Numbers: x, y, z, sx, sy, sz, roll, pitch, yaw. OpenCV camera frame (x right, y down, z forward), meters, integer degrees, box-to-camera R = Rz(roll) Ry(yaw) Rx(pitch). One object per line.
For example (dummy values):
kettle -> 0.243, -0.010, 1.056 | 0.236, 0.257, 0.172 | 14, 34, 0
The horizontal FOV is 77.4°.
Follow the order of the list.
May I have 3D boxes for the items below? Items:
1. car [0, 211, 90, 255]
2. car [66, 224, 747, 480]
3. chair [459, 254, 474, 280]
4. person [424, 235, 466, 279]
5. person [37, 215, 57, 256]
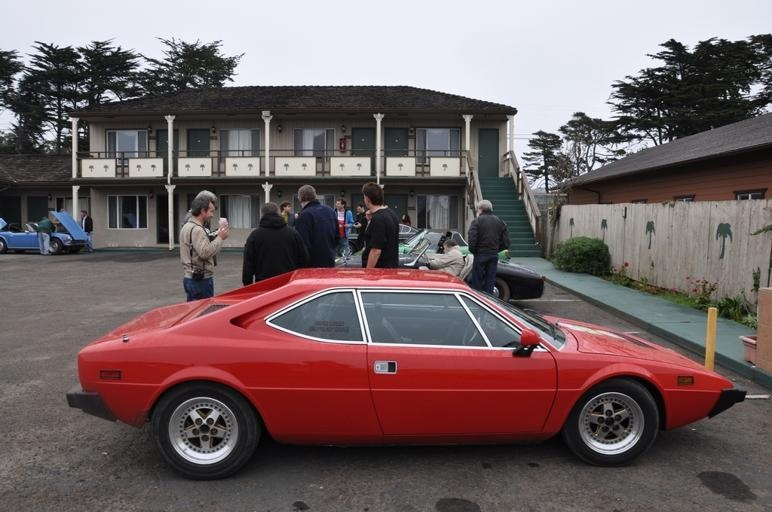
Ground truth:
car -> -16.565, -1.116, 23.112 | 4.264, 1.981, 2.072 | 0, 3, -2
car -> 0.047, 0.843, 5.101 | 5.246, 1.375, 2.622 | -1, 1, -3
chair -> 1.624, 0.213, 9.777 | 0.186, 0.472, 0.347 | 10, -2, 22
person -> 1.247, 0.107, 9.637 | 0.666, 0.591, 0.879 | -8, 12, -44
person -> -15.535, -0.896, 22.015 | 0.594, 1.592, 0.954 | -9, 16, -35
